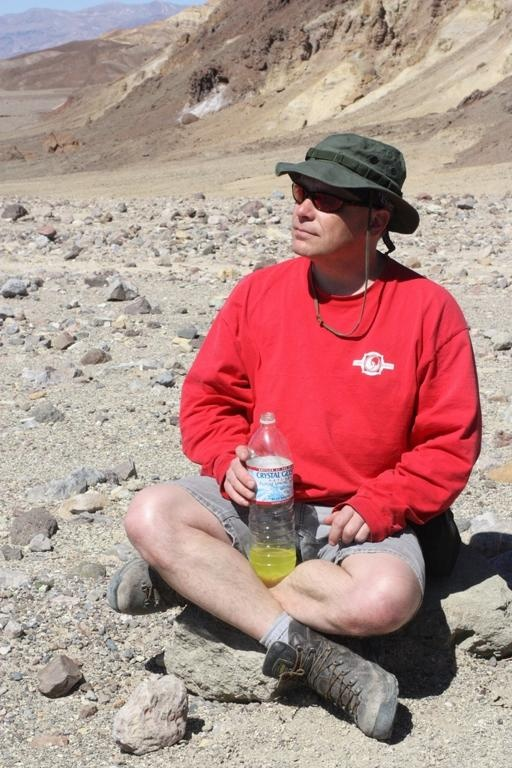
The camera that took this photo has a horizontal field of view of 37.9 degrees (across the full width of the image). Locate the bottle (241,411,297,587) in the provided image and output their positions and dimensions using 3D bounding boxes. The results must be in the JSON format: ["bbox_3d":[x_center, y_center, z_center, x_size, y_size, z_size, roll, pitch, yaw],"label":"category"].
[{"bbox_3d":[0.039,0.322,2.100,0.161,0.504,0.252,-9,18,-9],"label":"bottle"}]

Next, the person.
[{"bbox_3d":[0.167,0.051,2.121,0.904,1.473,0.958,9,23,38],"label":"person"}]

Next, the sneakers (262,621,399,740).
[{"bbox_3d":[0.190,0.732,1.891,0.323,0.130,0.431,4,6,-11],"label":"sneakers"}]

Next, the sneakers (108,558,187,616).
[{"bbox_3d":[-0.307,0.626,2.289,0.231,0.090,0.161,15,-3,-26],"label":"sneakers"}]
